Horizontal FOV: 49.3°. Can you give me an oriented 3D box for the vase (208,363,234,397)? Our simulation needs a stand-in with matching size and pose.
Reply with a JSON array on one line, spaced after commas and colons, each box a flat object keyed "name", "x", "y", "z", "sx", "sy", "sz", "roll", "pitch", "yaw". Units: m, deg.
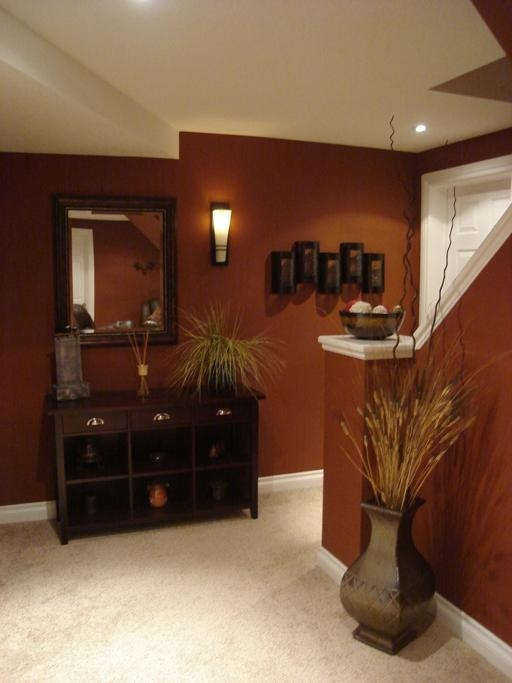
[{"name": "vase", "x": -0.208, "y": 0.227, "z": 3.312, "sx": 0.150, "sy": 0.265, "sz": 0.168, "roll": -1, "pitch": -1, "yaw": -29}]

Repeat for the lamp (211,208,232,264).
[{"name": "lamp", "x": -0.217, "y": -0.667, "z": 3.482, "sx": 0.131, "sy": 0.375, "sz": 0.193, "roll": -1, "pitch": 4, "yaw": -5}]

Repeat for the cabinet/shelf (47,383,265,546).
[{"name": "cabinet/shelf", "x": -0.573, "y": 0.689, "z": 3.279, "sx": 1.180, "sy": 0.764, "sz": 0.468, "roll": -2, "pitch": 4, "yaw": -20}]

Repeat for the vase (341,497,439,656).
[{"name": "vase", "x": 0.490, "y": 0.855, "z": 2.083, "sx": 0.311, "sy": 0.496, "sz": 0.311, "roll": 4, "pitch": 7, "yaw": 25}]

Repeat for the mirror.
[{"name": "mirror", "x": -0.867, "y": -0.450, "z": 3.312, "sx": 0.831, "sy": 1.126, "sz": 0.104, "roll": -2, "pitch": 7, "yaw": -25}]
